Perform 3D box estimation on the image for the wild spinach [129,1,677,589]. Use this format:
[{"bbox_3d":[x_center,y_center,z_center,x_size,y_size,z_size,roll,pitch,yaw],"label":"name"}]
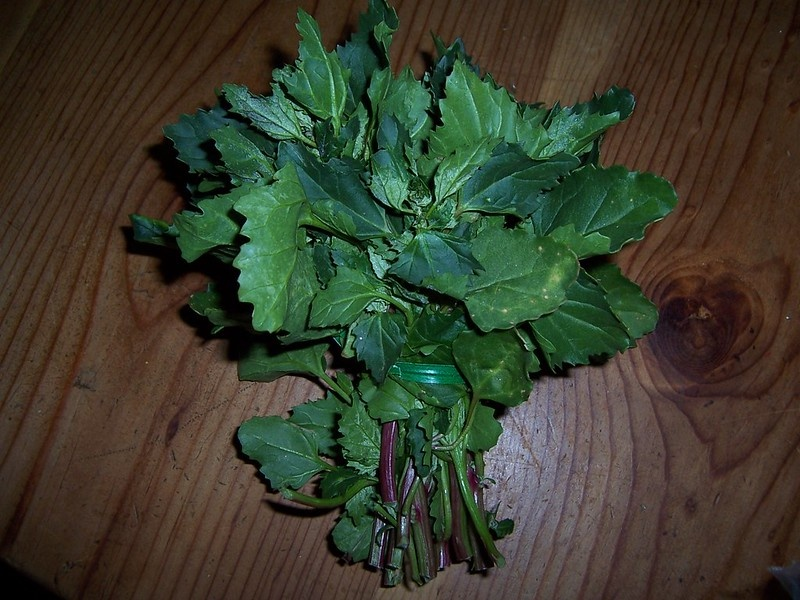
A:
[{"bbox_3d":[-0.018,0.007,1.458,0.799,0.930,0.991,-10,-70,10],"label":"wild spinach"}]
